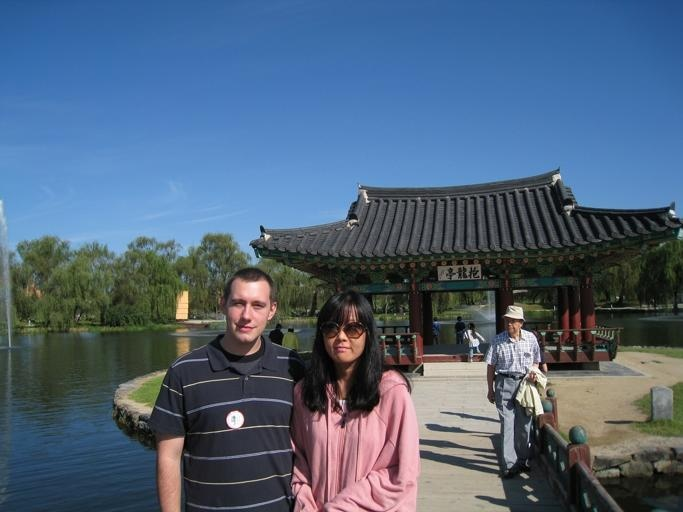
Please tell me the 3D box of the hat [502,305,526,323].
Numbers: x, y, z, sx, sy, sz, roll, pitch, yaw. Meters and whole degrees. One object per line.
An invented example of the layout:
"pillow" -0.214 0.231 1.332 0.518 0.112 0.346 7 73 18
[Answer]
"hat" 2.412 0.791 7.484 0.276 0.160 0.259 14 -5 -3

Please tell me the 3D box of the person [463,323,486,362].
"person" 3.702 2.396 15.240 0.568 1.089 0.313 -6 9 14

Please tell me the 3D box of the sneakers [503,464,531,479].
"sneakers" 2.439 2.963 7.453 0.512 0.230 0.163 19 -17 -32

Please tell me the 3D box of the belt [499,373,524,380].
"belt" 2.355 1.646 7.461 0.324 0.096 0.085 5 -3 7

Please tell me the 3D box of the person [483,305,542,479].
"person" 2.383 1.856 7.543 0.762 2.289 0.456 4 -3 3
